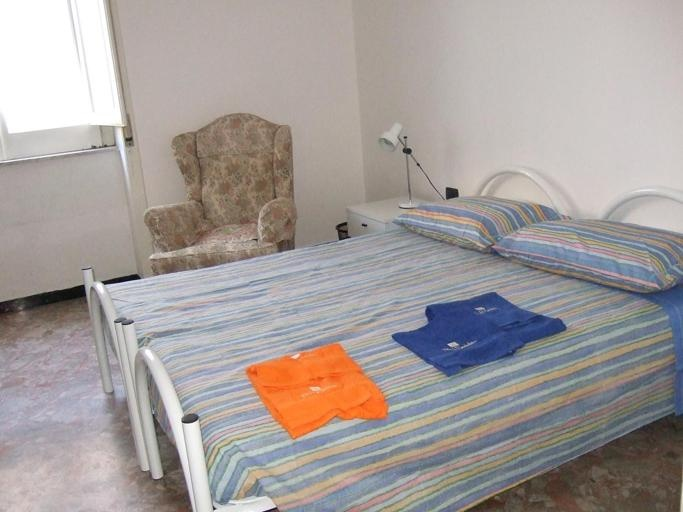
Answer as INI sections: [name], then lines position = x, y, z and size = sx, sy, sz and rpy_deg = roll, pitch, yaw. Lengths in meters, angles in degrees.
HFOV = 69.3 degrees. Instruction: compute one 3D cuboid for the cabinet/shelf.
[cabinet/shelf]
position = 0.355, -0.313, 3.857
size = 0.450, 0.238, 0.413
rpy_deg = -20, 31, -34
